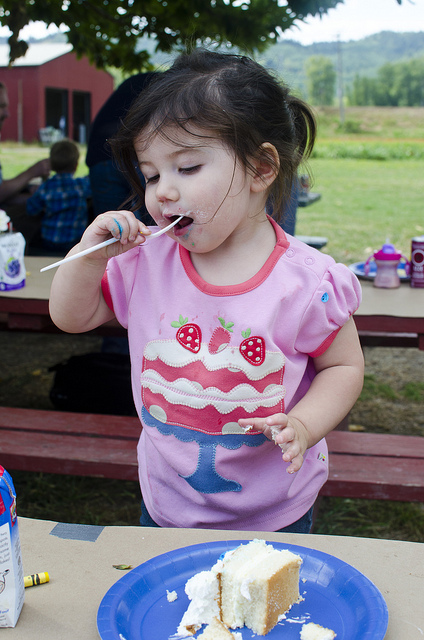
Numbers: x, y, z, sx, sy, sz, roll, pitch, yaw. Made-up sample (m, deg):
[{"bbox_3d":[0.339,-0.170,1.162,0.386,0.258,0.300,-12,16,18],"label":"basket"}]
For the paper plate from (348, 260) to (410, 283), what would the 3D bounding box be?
[{"bbox_3d":[0.784,-0.251,3.089,0.256,0.094,0.523,2,13,10],"label":"paper plate"}]

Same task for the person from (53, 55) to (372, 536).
[{"bbox_3d":[-0.013,-0.032,1.258,0.586,0.914,0.375,4,16,16],"label":"person"}]

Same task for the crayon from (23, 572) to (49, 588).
[{"bbox_3d":[-0.244,0.358,0.910,0.021,0.005,0.020,-10,15,-14],"label":"crayon"}]
